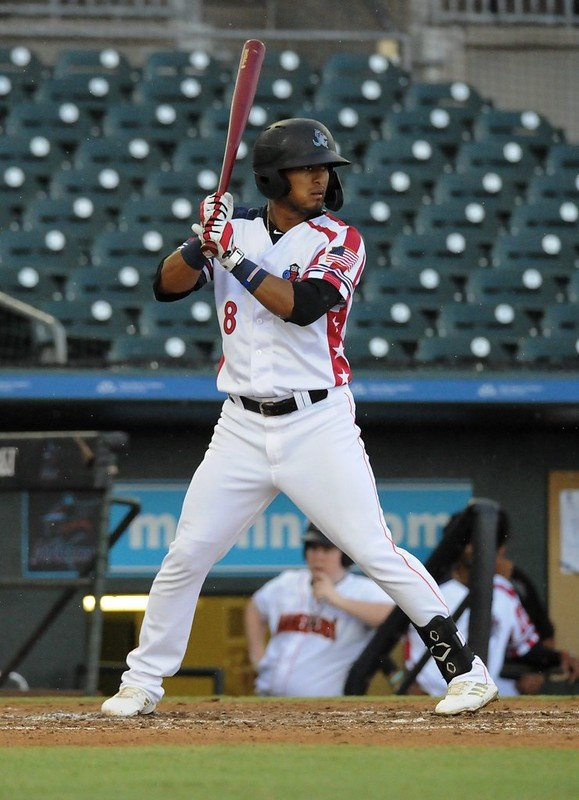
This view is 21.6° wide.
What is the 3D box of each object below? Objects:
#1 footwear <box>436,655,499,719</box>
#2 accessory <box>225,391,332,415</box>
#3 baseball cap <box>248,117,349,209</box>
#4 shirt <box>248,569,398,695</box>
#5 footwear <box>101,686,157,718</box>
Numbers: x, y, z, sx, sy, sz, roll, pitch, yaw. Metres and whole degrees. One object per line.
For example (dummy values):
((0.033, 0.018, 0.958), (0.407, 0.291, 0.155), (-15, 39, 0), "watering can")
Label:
((0.446, 0.741, 3.926), (0.208, 0.123, 0.073), (-9, -10, -43), "footwear")
((-0.027, 0.011, 3.914), (0.239, 0.073, 0.077), (1, 0, -1), "accessory")
((0.007, -0.635, 4.111), (0.294, 0.236, 0.213), (-1, -3, 35), "baseball cap")
((0.079, 0.846, 5.364), (0.563, 0.476, 0.298), (4, -6, 30), "shirt")
((-0.419, 0.784, 3.936), (0.132, 0.049, 0.069), (13, 2, -44), "footwear")
